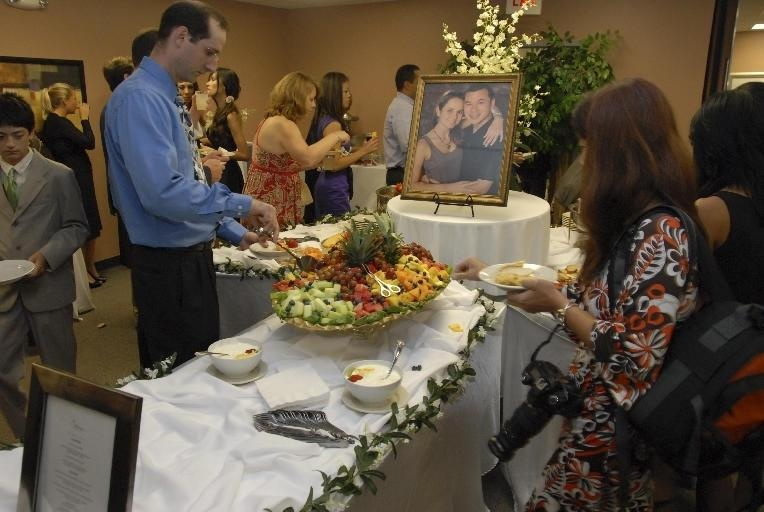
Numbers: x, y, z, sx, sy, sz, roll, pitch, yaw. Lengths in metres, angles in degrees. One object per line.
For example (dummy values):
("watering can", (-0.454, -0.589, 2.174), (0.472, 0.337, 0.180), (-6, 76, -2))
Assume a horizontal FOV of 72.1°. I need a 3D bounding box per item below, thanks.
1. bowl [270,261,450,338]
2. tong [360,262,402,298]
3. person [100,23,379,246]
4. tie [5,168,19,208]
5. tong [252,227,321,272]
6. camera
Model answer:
("bowl", (-0.146, 0.174, 2.260), (0.481, 0.149, 0.416), (-10, 4, 23))
("tong", (0.004, 0.108, 2.291), (0.086, 0.024, 0.229), (-11, 35, -32))
("person", (-0.819, -0.462, 2.692), (0.930, 1.189, 1.126), (-10, 41, -32))
("tie", (-2.263, -0.416, 3.214), (0.075, 0.231, 0.107), (-10, 18, -33))
("tong", (-0.561, -0.008, 3.063), (0.191, 0.141, 0.807), (16, 6, -25))
("camera", (0.616, 0.648, 2.114), (0.187, 0.423, 0.253), (35, 14, -8))
